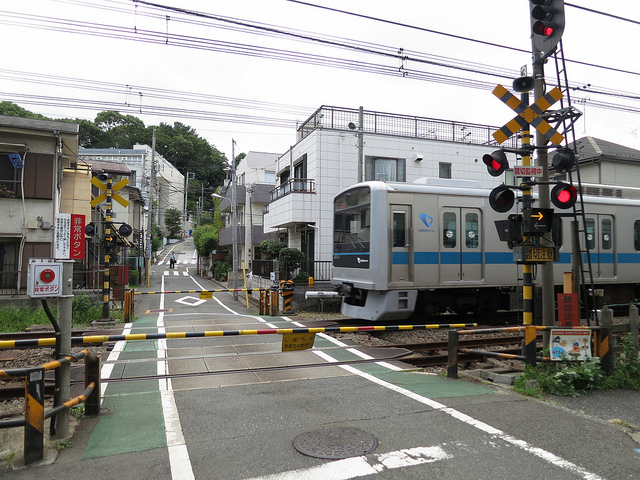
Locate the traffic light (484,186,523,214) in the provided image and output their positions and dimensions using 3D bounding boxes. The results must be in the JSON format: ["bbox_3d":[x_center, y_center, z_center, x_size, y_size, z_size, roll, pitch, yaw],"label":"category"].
[{"bbox_3d":[3.372,-0.749,9.817,0.531,0.458,0.463,3,5,35],"label":"traffic light"}]

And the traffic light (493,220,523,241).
[{"bbox_3d":[3.450,-0.194,9.900,0.318,0.443,0.614,-2,4,-23],"label":"traffic light"}]

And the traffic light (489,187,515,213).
[{"bbox_3d":[3.290,-0.728,9.768,0.432,0.454,0.114,15,6,4],"label":"traffic light"}]

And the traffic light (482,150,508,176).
[{"bbox_3d":[3.199,-1.410,9.788,0.402,0.474,0.359,1,4,19],"label":"traffic light"}]

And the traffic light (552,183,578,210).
[{"bbox_3d":[4.414,-0.804,9.704,0.400,0.442,0.296,1,4,20],"label":"traffic light"}]

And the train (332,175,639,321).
[{"bbox_3d":[5.392,0.394,17.148,12.424,4.503,3.553,0,-1,-21],"label":"train"}]

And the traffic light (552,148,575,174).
[{"bbox_3d":[4.540,-1.499,10.001,0.376,0.430,0.441,2,4,23],"label":"traffic light"}]

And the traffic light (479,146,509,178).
[{"bbox_3d":[3.165,-1.431,9.762,0.261,0.508,0.496,8,-4,-26],"label":"traffic light"}]

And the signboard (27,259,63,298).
[{"bbox_3d":[-3.799,0.518,7.423,0.431,0.527,0.293,2,0,-37],"label":"signboard"}]

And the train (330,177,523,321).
[{"bbox_3d":[3.520,0.296,16.073,7.443,4.005,2.563,0,-1,-38],"label":"train"}]

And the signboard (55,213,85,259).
[{"bbox_3d":[-3.614,-0.057,7.793,0.403,0.713,0.070,2,-22,-28],"label":"signboard"}]

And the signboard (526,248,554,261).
[{"bbox_3d":[4.010,0.266,9.759,0.608,0.238,0.097,-2,4,-21],"label":"signboard"}]

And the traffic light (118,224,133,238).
[{"bbox_3d":[-5.461,-0.284,15.262,0.384,0.391,0.091,-28,-3,17],"label":"traffic light"}]

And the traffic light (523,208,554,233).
[{"bbox_3d":[3.926,-0.354,9.699,0.437,0.397,0.147,0,-1,-5],"label":"traffic light"}]

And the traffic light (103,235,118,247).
[{"bbox_3d":[-5.915,0.030,15.219,0.259,0.354,0.633,0,4,5],"label":"traffic light"}]

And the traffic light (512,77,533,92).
[{"bbox_3d":[3.730,-2.867,9.887,0.323,0.231,0.156,1,4,20],"label":"traffic light"}]

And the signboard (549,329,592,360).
[{"bbox_3d":[4.446,1.853,9.488,0.531,0.387,0.158,0,4,3],"label":"signboard"}]
